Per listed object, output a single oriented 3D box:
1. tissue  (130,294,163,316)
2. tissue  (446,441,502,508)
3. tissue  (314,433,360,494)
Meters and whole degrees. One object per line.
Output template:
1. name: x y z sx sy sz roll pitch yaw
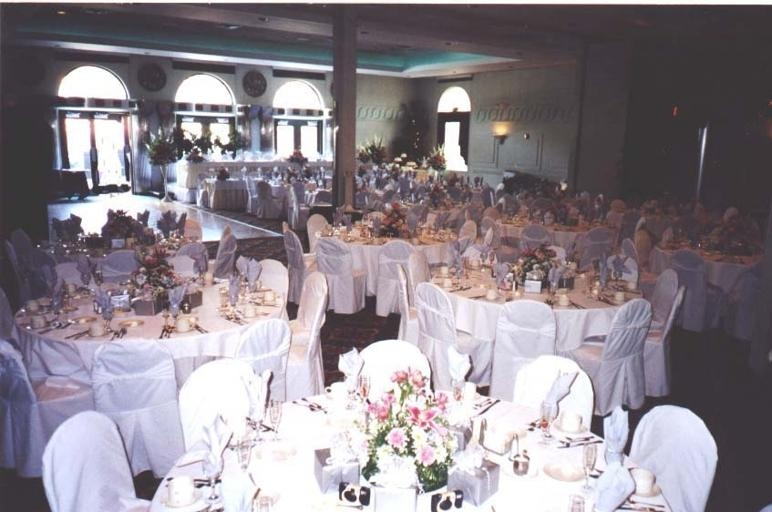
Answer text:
1. tissue : -2.326 0.471 5.571 0.199 0.133 0.199 -6 12 -38
2. tissue : 0.563 1.388 3.807 0.313 0.338 0.309 -7 11 -39
3. tissue : -0.332 1.391 3.856 0.299 0.320 0.231 2 -10 -1
